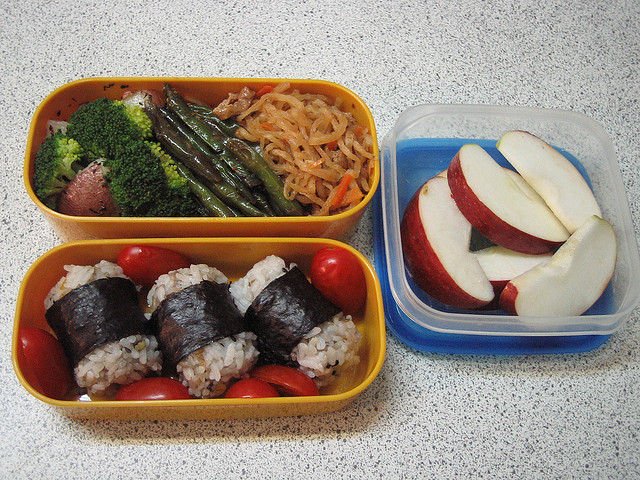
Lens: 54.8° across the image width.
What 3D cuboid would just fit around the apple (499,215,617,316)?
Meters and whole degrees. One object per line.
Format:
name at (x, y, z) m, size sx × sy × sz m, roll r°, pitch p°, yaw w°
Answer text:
apple at (0.846, 0.133, 2.099) m, size 0.450 × 0.080 × 0.221 m, roll -36°, pitch 77°, yaw -7°

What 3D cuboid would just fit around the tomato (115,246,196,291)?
tomato at (-0.555, 0.088, 2.066) m, size 0.228 × 0.077 × 0.129 m, roll 2°, pitch 93°, yaw -9°

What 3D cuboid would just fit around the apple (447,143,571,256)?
apple at (0.659, -0.114, 2.199) m, size 0.465 × 0.114 × 0.241 m, roll 40°, pitch 53°, yaw 11°

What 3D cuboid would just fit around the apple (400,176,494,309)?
apple at (0.423, 0.009, 2.149) m, size 0.245 × 0.093 × 0.478 m, roll -12°, pitch 75°, yaw -1°

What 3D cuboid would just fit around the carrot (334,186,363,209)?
carrot at (0.110, -0.154, 2.218) m, size 0.085 × 0.022 × 0.075 m, roll -40°, pitch 83°, yaw 10°

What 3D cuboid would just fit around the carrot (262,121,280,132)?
carrot at (-0.188, -0.425, 2.312) m, size 0.052 × 0.039 × 0.018 m, roll 47°, pitch 50°, yaw -21°

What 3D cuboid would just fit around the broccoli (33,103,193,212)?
broccoli at (-0.743, -0.280, 2.236) m, size 0.442 × 0.135 × 0.406 m, roll -9°, pitch 71°, yaw -3°

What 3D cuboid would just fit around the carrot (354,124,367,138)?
carrot at (0.148, -0.407, 2.302) m, size 0.030 × 0.011 × 0.042 m, roll 22°, pitch 86°, yaw 8°

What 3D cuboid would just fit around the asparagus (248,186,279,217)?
asparagus at (-0.206, -0.137, 2.244) m, size 0.113 × 0.030 × 0.037 m, roll 48°, pitch 51°, yaw -3°
